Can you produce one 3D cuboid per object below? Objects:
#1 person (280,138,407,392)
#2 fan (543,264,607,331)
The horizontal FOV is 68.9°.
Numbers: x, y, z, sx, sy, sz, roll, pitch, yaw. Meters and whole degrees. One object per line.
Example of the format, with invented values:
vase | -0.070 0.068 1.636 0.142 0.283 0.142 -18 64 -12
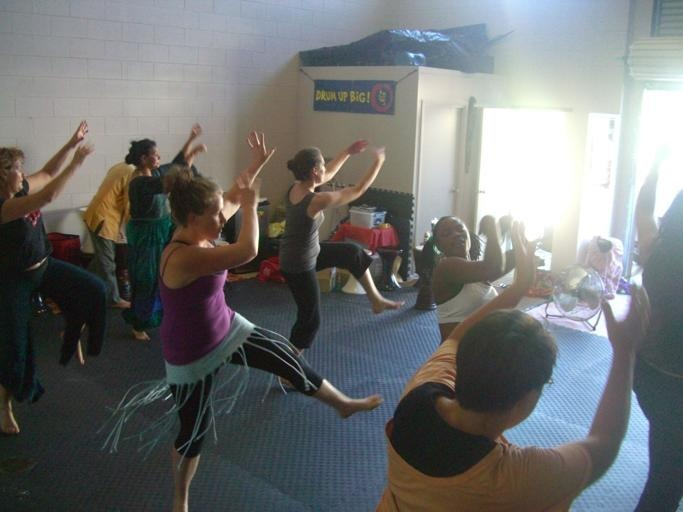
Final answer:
person | -0.014 -0.001 4.657 1.202 2.130 0.780 -9 22 -27
fan | 2.572 0.477 5.452 0.522 0.627 0.452 7 20 41
